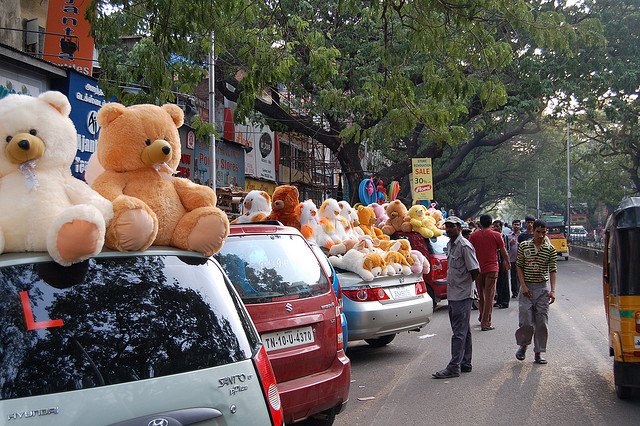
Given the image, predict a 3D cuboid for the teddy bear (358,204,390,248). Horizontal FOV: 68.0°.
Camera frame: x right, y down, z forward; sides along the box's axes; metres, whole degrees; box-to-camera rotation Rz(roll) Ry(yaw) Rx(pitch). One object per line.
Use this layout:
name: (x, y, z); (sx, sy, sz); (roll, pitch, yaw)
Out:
teddy bear: (1.314, 0.296, 11.395); (0.738, 0.980, 0.786); (-4, 12, -5)

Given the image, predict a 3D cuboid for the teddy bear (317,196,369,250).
teddy bear: (0.341, 0.218, 10.072); (0.658, 0.980, 0.821); (-8, 19, -39)

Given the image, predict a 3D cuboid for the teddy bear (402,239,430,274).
teddy bear: (1.792, 0.845, 8.993); (0.519, 0.251, 0.580); (-2, -33, 37)

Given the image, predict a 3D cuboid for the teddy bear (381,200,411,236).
teddy bear: (1.958, 0.102, 12.174); (0.699, 0.955, 0.697); (-1, 12, 26)

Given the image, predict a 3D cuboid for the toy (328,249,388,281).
toy: (0.592, 0.809, 7.799); (0.755, 0.344, 0.461); (8, 5, 39)

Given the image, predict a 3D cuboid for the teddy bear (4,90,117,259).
teddy bear: (-1.808, -0.268, 3.300); (0.643, 1.140, 1.256); (0, -1, -25)

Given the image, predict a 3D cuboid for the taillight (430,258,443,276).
taillight: (2.833, 1.327, 11.572); (0.310, 0.429, 0.098); (-1, -1, 4)

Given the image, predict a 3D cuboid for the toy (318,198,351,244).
toy: (0.323, 0.194, 10.161); (0.692, 0.949, 0.751); (-2, 14, -30)

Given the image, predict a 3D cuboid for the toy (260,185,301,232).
toy: (-0.764, -0.100, 8.945); (0.726, 1.014, 0.731); (7, 18, 8)

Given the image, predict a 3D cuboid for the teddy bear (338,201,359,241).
teddy bear: (0.638, 0.153, 10.804); (0.634, 1.115, 0.673); (0, 6, 7)

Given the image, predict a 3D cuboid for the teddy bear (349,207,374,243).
teddy bear: (0.868, 0.268, 10.742); (0.563, 0.915, 0.579); (-9, 7, -5)

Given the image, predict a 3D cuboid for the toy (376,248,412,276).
toy: (1.265, 0.854, 7.971); (0.345, 0.210, 0.477); (9, 14, -40)

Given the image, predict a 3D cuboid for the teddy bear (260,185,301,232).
teddy bear: (-0.616, -0.055, 9.084); (0.781, 1.079, 0.756); (1, -4, 5)

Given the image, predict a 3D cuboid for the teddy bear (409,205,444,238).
teddy bear: (2.625, 0.220, 11.922); (0.831, 0.663, 0.642); (22, 18, 32)

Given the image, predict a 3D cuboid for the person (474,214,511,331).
person: (3.650, 1.249, 10.389); (0.587, 2.416, 1.240); (-1, -1, 29)

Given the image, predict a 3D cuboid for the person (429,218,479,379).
person: (2.071, 1.229, 7.146); (0.568, 2.304, 0.877); (-1, -1, 22)

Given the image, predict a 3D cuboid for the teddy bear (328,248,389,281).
teddy bear: (0.612, 0.807, 7.926); (0.991, 0.456, 0.570); (12, 13, 43)

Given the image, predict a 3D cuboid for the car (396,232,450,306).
car: (2.401, 1.261, 12.231); (1.750, 1.047, 1.103); (0, 0, 25)

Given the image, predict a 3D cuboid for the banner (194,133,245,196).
banner: (-4.353, -2.044, 20.400); (0.493, 2.743, 3.840); (-8, -8, 24)

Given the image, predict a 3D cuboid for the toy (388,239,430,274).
toy: (1.597, 0.849, 8.909); (0.871, 0.502, 0.561); (4, 4, 37)

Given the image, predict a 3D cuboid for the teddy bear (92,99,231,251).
teddy bear: (-1.212, -0.256, 3.659); (0.931, 1.143, 0.920); (1, 2, -21)

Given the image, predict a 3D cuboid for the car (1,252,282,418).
car: (-1.089, 0.755, 3.080); (1.562, 0.843, 0.863); (4, -16, -28)

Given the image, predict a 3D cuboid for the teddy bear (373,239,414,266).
teddy bear: (1.438, 0.703, 8.812); (0.811, 0.448, 0.319); (8, 2, 21)

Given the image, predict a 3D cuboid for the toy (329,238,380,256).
toy: (0.595, 0.601, 8.375); (0.492, 0.243, 0.434); (-2, -2, 9)

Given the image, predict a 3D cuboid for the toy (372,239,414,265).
toy: (1.360, 0.694, 8.744); (0.637, 0.320, 0.380); (12, -1, 22)

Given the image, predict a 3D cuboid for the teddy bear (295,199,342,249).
teddy bear: (-0.056, 0.277, 9.407); (0.838, 1.074, 0.828); (-4, 13, -20)

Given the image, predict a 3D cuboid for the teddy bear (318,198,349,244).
teddy bear: (0.302, 0.193, 10.193); (0.671, 0.996, 0.718); (13, 13, 42)
